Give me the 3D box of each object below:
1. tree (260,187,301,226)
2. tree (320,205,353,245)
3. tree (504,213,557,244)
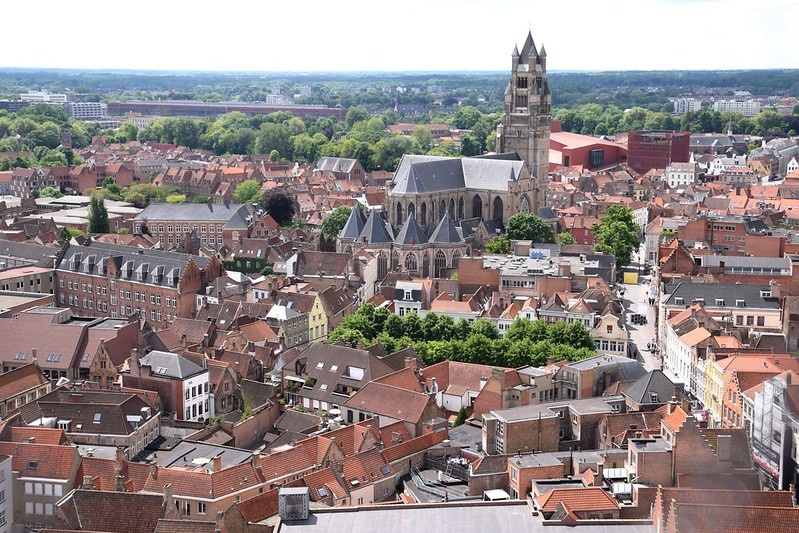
[{"bbox_3d":[-16.375,-7.911,158.615,4.667,5.288,5.048,6,28,39],"label":"tree"},{"bbox_3d":[-7.976,-5.464,151.040,3.680,4.495,4.263,0,15,0],"label":"tree"},{"bbox_3d":[16.009,-4.621,140.702,4.598,3.074,3.820,-4,16,-18],"label":"tree"}]
